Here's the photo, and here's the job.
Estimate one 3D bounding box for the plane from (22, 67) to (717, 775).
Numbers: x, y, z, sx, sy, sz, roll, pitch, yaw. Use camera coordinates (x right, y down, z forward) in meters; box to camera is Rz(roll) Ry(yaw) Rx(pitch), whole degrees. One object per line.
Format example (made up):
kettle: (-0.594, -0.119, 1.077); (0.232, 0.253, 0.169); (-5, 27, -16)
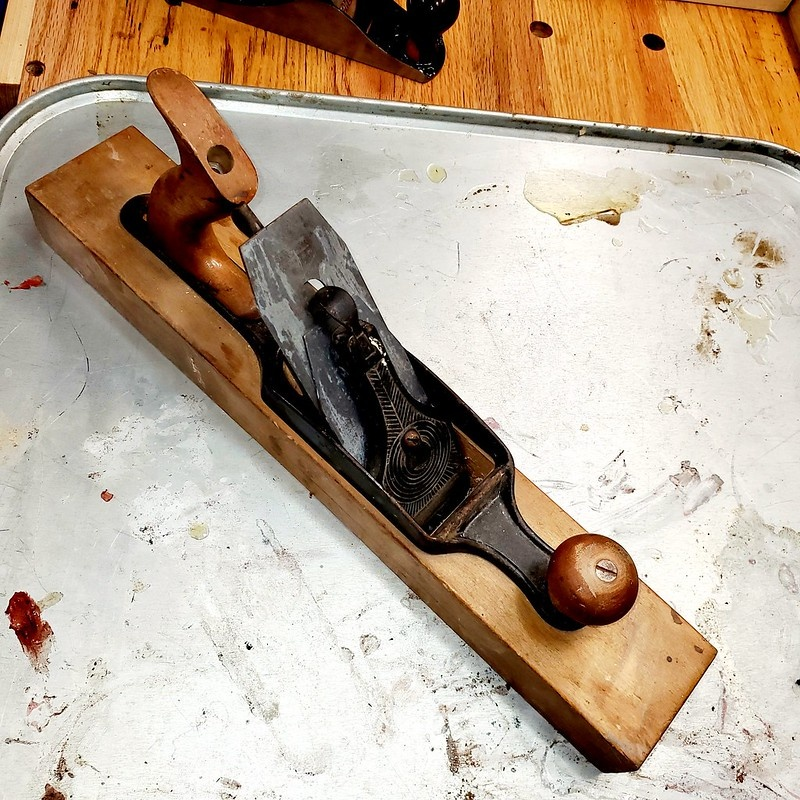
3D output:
plane: (-0.083, 0.073, 1.660); (1.502, 0.624, 0.351); (44, 59, 3)
